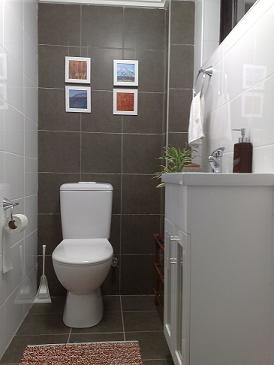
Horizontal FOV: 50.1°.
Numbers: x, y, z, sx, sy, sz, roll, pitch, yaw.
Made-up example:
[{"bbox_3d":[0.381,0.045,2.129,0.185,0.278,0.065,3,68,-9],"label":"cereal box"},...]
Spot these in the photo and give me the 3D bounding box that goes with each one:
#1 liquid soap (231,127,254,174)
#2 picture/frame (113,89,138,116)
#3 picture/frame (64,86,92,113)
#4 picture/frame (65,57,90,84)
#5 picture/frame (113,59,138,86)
[{"bbox_3d":[0.430,-0.128,1.191,0.062,0.160,0.145,1,-1,-1],"label":"liquid soap"},{"bbox_3d":[-0.092,-0.618,2.258,0.182,0.258,0.017,1,-27,-3],"label":"picture/frame"},{"bbox_3d":[-0.456,-0.632,2.210,0.135,0.201,0.011,1,0,-10],"label":"picture/frame"},{"bbox_3d":[-0.457,-0.848,2.200,0.136,0.198,0.011,1,0,-10],"label":"picture/frame"},{"bbox_3d":[-0.096,-0.844,2.237,0.137,0.197,0.012,1,0,-9],"label":"picture/frame"}]
